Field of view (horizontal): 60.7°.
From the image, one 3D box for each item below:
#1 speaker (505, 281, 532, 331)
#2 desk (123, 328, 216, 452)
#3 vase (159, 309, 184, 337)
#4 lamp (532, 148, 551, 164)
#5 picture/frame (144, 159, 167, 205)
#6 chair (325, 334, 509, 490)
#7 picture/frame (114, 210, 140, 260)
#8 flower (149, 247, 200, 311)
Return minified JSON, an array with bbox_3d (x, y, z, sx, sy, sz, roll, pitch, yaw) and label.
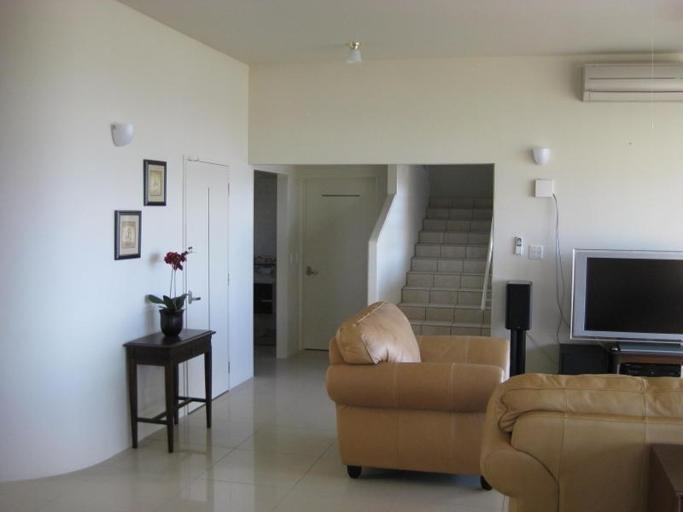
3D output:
[{"bbox_3d":[1.688,0.483,5.583,0.243,0.455,0.206,2,7,17],"label":"speaker"},{"bbox_3d":[-1.465,1.142,5.043,0.456,0.883,0.886,1,1,10],"label":"desk"},{"bbox_3d":[-1.449,0.579,5.042,0.213,0.215,0.219,3,7,17],"label":"vase"},{"bbox_3d":[1.918,-0.950,5.638,0.160,0.152,0.150,-5,9,-19],"label":"lamp"},{"bbox_3d":[-1.634,-0.630,5.041,0.033,0.461,0.418,0,0,19],"label":"picture/frame"},{"bbox_3d":[0.530,1.029,4.344,1.091,0.967,1.177,-1,3,6],"label":"chair"},{"bbox_3d":[-1.773,-0.171,4.756,0.032,0.452,0.409,0,0,22],"label":"picture/frame"},{"bbox_3d":[-1.478,0.229,5.235,0.319,0.544,0.692,1,7,11],"label":"flower"}]
